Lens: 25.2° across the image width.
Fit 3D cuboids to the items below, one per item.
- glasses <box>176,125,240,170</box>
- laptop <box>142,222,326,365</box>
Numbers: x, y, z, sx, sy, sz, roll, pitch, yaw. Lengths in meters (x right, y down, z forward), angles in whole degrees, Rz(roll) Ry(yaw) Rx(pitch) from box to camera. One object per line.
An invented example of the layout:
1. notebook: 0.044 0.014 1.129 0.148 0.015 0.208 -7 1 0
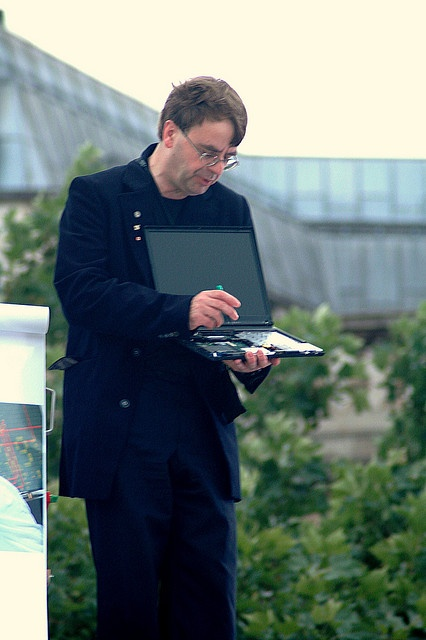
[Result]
1. glasses: -0.026 -0.529 2.925 0.040 0.137 0.136 -56 -24 17
2. laptop: 0.007 -0.104 2.971 0.489 0.312 0.512 -1 10 -36
